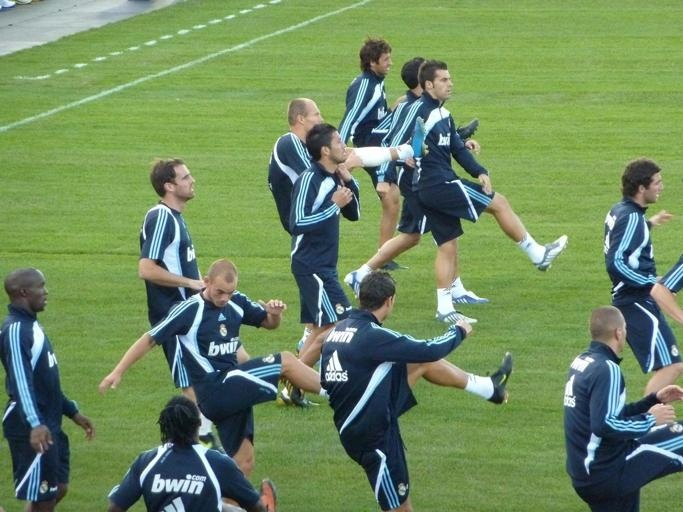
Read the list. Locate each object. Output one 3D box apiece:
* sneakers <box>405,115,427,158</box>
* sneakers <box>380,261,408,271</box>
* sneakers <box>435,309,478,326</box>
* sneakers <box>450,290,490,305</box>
[{"bbox_3d":[1.109,-1.704,25.373,0.222,0.594,0.290,12,-12,-35],"label":"sneakers"},{"bbox_3d":[0.822,0.170,27.247,0.484,0.171,0.135,-3,-1,-3],"label":"sneakers"},{"bbox_3d":[1.703,0.927,25.718,0.642,0.208,0.216,1,4,7],"label":"sneakers"},{"bbox_3d":[1.963,0.668,26.240,0.581,0.180,0.198,1,0,0],"label":"sneakers"}]
